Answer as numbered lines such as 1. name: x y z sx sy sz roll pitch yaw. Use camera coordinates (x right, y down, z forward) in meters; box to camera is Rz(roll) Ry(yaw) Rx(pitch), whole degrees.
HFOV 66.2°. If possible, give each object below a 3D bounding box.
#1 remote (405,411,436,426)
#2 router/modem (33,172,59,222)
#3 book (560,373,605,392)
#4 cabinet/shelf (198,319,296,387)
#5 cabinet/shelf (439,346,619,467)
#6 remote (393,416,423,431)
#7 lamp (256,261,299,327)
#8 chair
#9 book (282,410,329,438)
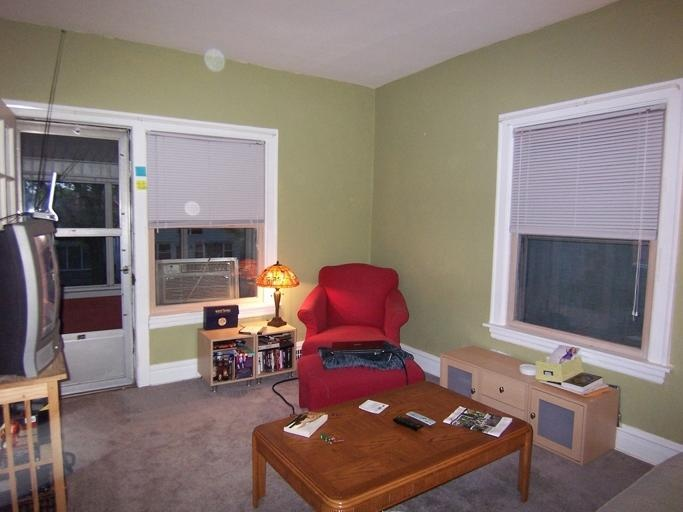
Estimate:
1. remote: 0.554 1.114 3.602 0.076 0.027 0.137 0 7 -43
2. router/modem: -2.651 -0.554 4.663 0.093 0.414 0.228 22 10 26
3. book: 1.862 0.968 4.014 0.205 0.040 0.136 -11 10 -38
4. cabinet/shelf: -0.926 0.983 5.249 0.938 0.549 0.398 -3 7 -24
5. cabinet/shelf: 1.543 1.200 4.494 0.490 0.496 1.416 -5 10 -33
6. remote: 0.464 1.132 3.560 0.121 0.030 0.080 5 6 37
7. lamp: -0.665 0.395 5.398 0.422 0.657 0.549 -1 6 -9
8. chair: 0.135 0.511 5.326 0.915 0.906 0.827 1 1 2
9. book: -0.234 1.141 3.538 0.204 0.047 0.345 0 -1 21
